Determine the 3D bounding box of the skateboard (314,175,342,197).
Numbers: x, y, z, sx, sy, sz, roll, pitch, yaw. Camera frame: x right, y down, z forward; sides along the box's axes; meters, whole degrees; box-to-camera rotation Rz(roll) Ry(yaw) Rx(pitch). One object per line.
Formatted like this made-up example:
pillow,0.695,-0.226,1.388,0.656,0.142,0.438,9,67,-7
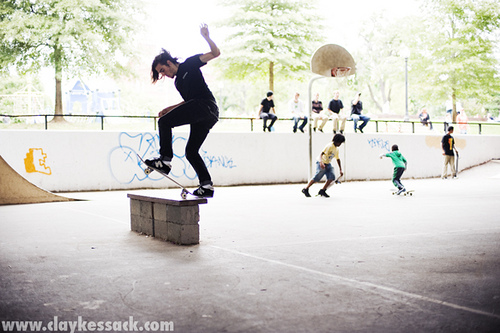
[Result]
skateboard,2.821,0.764,17.132,1.293,0.343,0.139,-29,1,-9

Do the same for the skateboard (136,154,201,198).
skateboard,-2.634,0.309,14.499,1.854,0.328,0.376,39,-9,-5

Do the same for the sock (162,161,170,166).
sock,-1.509,-0.051,8.526,0.077,0.022,0.076,20,-48,-23

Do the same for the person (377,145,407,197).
person,5.135,0.160,16.583,0.765,1.243,1.420,3,1,18

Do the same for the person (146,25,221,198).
person,-1.167,-0.953,8.469,1.169,3.034,0.649,2,2,-6

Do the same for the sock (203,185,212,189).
sock,-0.809,0.395,8.791,0.142,0.066,0.031,2,2,-23

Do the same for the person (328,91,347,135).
person,4.056,-2.482,21.837,0.832,2.044,1.065,3,2,11
